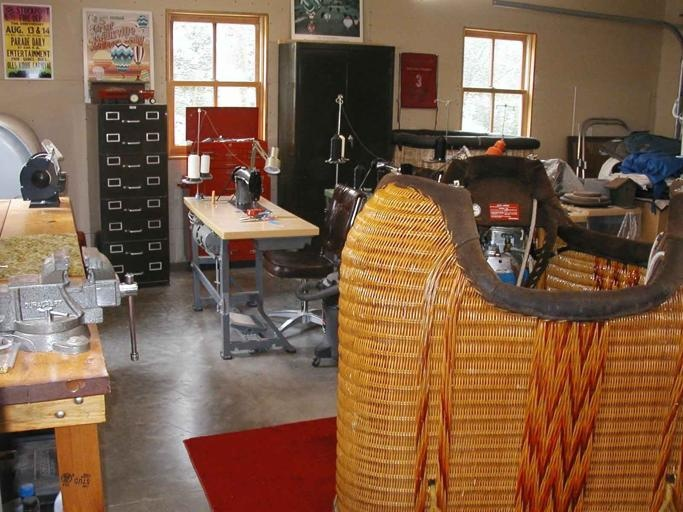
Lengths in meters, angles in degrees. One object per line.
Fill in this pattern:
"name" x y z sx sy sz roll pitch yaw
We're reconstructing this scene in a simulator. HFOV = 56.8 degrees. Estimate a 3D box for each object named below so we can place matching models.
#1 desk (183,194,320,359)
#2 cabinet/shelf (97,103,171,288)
"desk" -0.724 0.182 5.022 0.519 0.625 1.270 -4 17 -20
"cabinet/shelf" -1.938 -0.549 5.917 0.683 1.713 0.181 -5 15 -14
